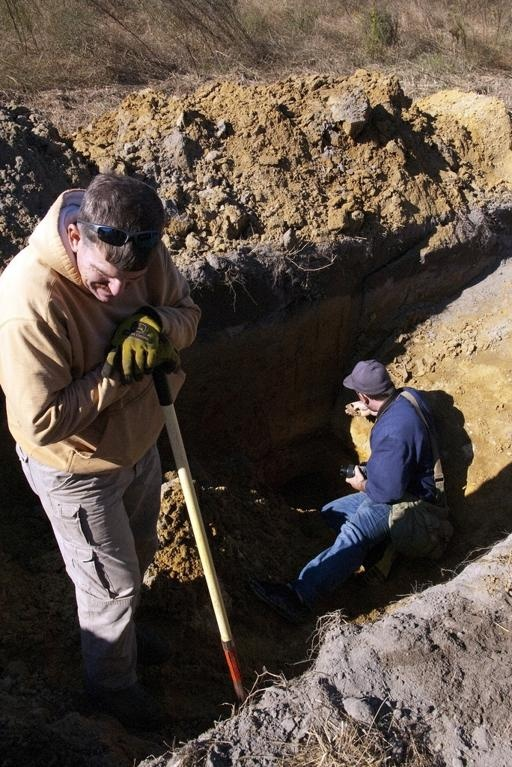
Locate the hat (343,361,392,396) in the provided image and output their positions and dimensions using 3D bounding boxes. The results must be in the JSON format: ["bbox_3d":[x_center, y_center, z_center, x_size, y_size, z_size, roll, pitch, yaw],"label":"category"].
[{"bbox_3d":[0.636,-0.044,4.517,0.200,0.114,0.234,-10,22,-16],"label":"hat"}]

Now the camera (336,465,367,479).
[{"bbox_3d":[0.574,0.506,4.757,0.141,0.113,0.051,4,51,10],"label":"camera"}]

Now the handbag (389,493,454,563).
[{"bbox_3d":[0.923,0.806,4.418,0.297,0.346,0.225,-4,6,45],"label":"handbag"}]

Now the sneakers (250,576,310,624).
[{"bbox_3d":[0.130,1.093,4.127,0.350,0.152,0.130,37,11,8],"label":"sneakers"}]

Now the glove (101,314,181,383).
[{"bbox_3d":[-0.408,-0.087,2.904,0.199,0.280,0.317,2,37,11],"label":"glove"}]
